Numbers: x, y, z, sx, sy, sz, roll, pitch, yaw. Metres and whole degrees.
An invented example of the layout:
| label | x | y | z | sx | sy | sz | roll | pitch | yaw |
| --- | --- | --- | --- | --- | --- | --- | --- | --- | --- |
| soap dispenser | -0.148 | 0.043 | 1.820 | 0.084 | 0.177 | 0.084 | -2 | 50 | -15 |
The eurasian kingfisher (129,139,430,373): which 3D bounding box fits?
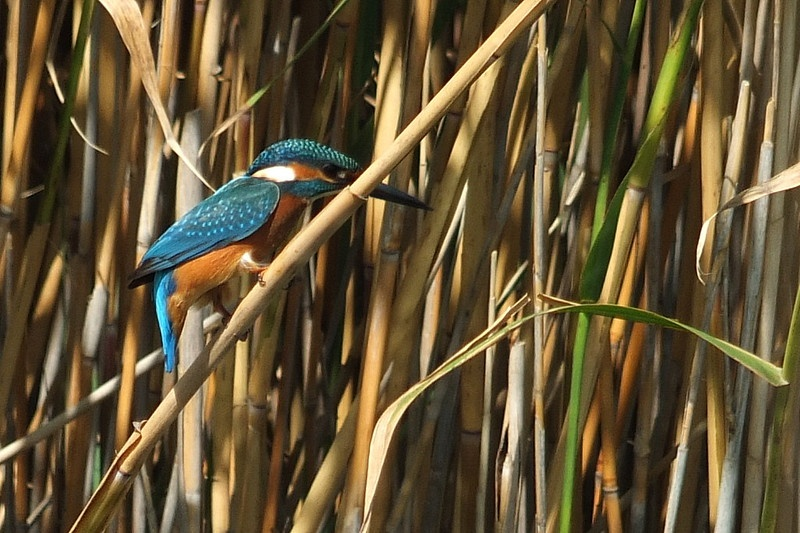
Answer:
| label | x | y | z | sx | sy | sz | roll | pitch | yaw |
| --- | --- | --- | --- | --- | --- | --- | --- | --- | --- |
| eurasian kingfisher | -0.302 | -0.009 | 3.524 | 0.642 | 0.605 | 0.217 | -9 | -35 | 5 |
